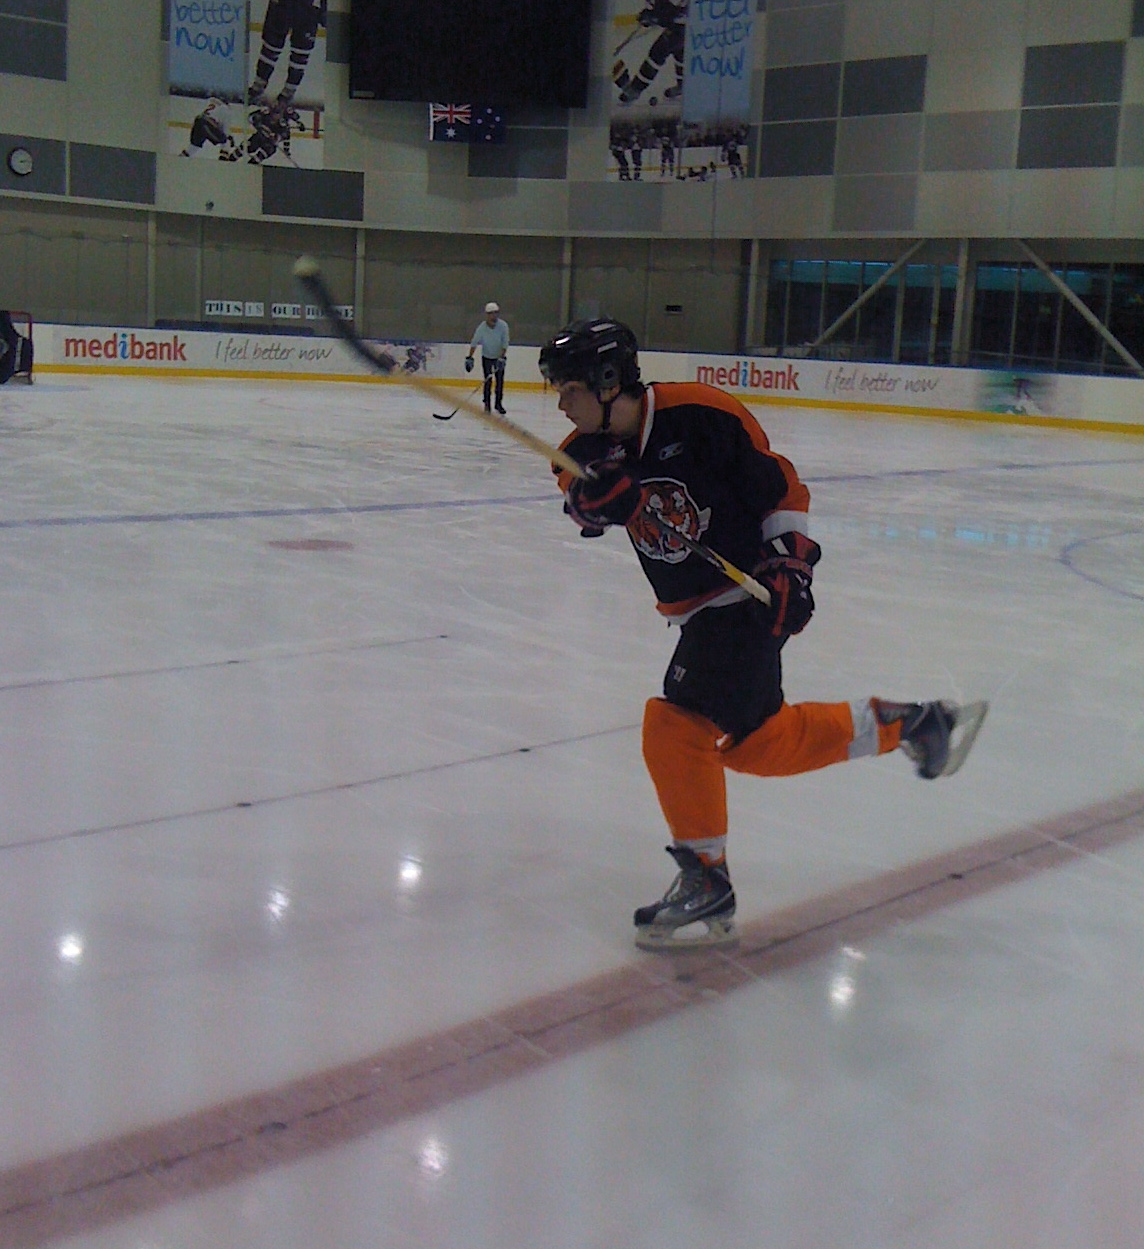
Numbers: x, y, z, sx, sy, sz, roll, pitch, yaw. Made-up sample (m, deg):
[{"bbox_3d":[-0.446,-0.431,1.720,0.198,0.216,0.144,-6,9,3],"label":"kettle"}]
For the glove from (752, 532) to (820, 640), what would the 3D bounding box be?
[{"bbox_3d":[0.337,-0.060,1.866,0.126,0.148,0.069,8,-30,7],"label":"glove"}]

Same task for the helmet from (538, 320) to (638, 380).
[{"bbox_3d":[0.024,-0.405,1.830,0.142,0.101,0.102,5,1,-1],"label":"helmet"}]
